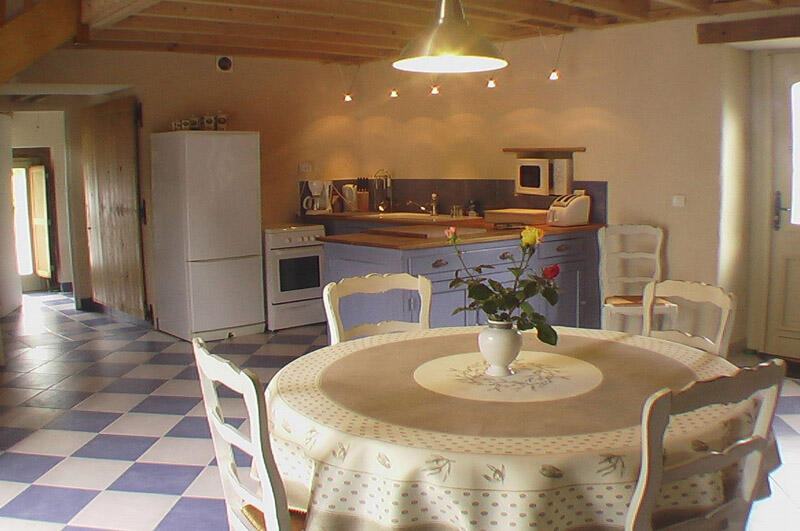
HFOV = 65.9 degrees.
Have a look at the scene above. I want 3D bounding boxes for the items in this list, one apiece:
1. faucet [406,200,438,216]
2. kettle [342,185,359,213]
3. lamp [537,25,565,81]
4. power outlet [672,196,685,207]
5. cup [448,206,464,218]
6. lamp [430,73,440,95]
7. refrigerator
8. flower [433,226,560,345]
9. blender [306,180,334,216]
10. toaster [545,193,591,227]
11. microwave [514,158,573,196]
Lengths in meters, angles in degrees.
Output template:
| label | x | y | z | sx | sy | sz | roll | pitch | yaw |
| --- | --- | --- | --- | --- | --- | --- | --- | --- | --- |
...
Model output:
| label | x | y | z | sx | sy | sz | roll | pitch | yaw |
| --- | --- | --- | --- | --- | --- | --- | --- | --- | --- |
| faucet | 0.266 | -0.683 | 7.251 | 0.133 | 0.164 | 0.445 | -4 | 16 | -36 |
| kettle | -0.618 | -0.839 | 7.647 | 0.188 | 0.312 | 0.201 | -3 | 13 | -5 |
| lamp | 1.401 | -1.970 | 5.793 | 0.245 | 0.457 | 0.246 | 6 | 16 | 30 |
| power outlet | 2.376 | -0.553 | 5.268 | 0.034 | 0.078 | 0.093 | -7 | 4 | -40 |
| cup | 0.607 | -0.612 | 6.859 | 0.129 | 0.116 | 0.243 | -10 | 15 | -32 |
| lamp | 0.378 | -1.999 | 6.857 | 0.066 | 0.221 | 0.176 | -10 | 15 | -28 |
| refrigerator | -1.966 | -0.302 | 6.263 | 1.191 | 2.071 | 0.779 | -4 | 14 | -11 |
| flower | 0.554 | 0.115 | 3.850 | 0.752 | 0.662 | 0.700 | -6 | 14 | -18 |
| blender | -1.007 | -0.823 | 7.487 | 0.256 | 0.361 | 0.358 | 5 | 11 | 40 |
| toaster | 1.562 | -0.518 | 5.758 | 0.397 | 0.267 | 0.305 | -4 | 13 | -23 |
| microwave | 1.402 | -0.872 | 6.037 | 0.579 | 0.345 | 0.138 | 11 | 19 | 44 |
